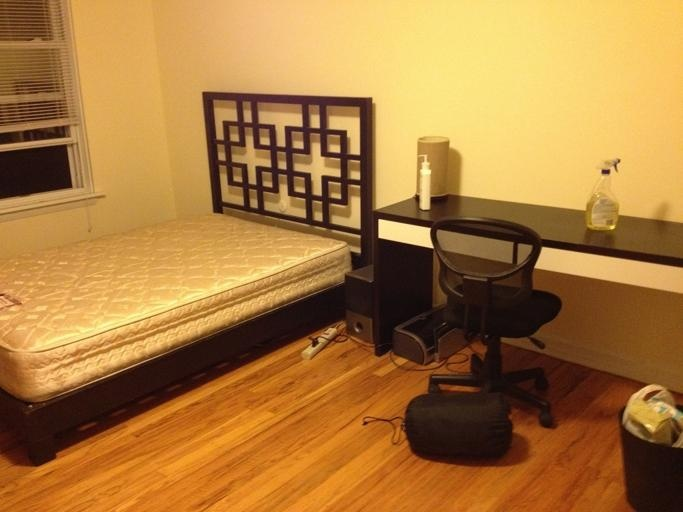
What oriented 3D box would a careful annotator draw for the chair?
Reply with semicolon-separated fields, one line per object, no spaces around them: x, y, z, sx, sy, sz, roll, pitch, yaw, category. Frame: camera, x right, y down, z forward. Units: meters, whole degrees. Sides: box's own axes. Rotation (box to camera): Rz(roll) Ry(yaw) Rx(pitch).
0.776;0.209;2.915;0.644;1.007;0.816;4;21;10;chair

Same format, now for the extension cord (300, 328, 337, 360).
-0.129;0.511;3.429;0.089;0.097;0.315;11;28;39;extension cord

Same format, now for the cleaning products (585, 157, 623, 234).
1.245;-0.290;2.671;0.147;0.332;0.134;8;24;21;cleaning products

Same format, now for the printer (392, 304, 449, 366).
0.546;0.460;3.355;0.472;0.126;0.238;-14;21;-39;printer
